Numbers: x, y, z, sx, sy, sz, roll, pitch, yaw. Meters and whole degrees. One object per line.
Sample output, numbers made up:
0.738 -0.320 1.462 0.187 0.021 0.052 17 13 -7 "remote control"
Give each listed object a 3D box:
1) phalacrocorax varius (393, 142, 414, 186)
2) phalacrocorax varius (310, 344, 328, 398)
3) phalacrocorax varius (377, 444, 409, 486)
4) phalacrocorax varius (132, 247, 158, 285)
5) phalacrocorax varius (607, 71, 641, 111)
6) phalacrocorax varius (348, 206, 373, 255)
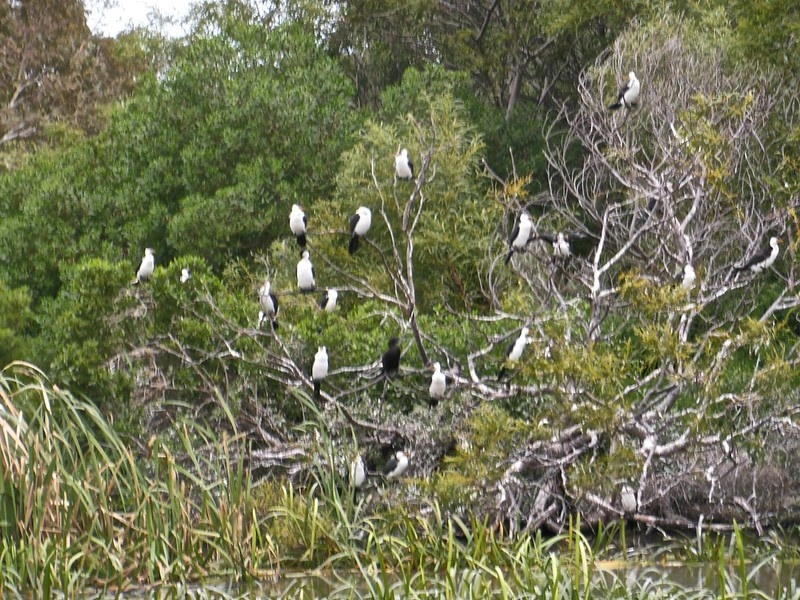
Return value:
0.088 -1.727 18.160 0.242 0.561 0.475 -1 2 25 "phalacrocorax varius"
-0.912 0.836 16.864 0.158 0.694 0.327 3 -9 1 "phalacrocorax varius"
-0.042 1.945 16.803 0.384 0.437 0.257 -1 3 17 "phalacrocorax varius"
-3.384 -0.444 18.952 0.374 0.354 0.584 -26 13 -12 "phalacrocorax varius"
2.976 -2.743 18.684 0.142 0.305 0.433 -22 -6 -42 "phalacrocorax varius"
-0.469 -0.802 17.815 0.205 0.313 0.701 5 -40 -15 "phalacrocorax varius"
